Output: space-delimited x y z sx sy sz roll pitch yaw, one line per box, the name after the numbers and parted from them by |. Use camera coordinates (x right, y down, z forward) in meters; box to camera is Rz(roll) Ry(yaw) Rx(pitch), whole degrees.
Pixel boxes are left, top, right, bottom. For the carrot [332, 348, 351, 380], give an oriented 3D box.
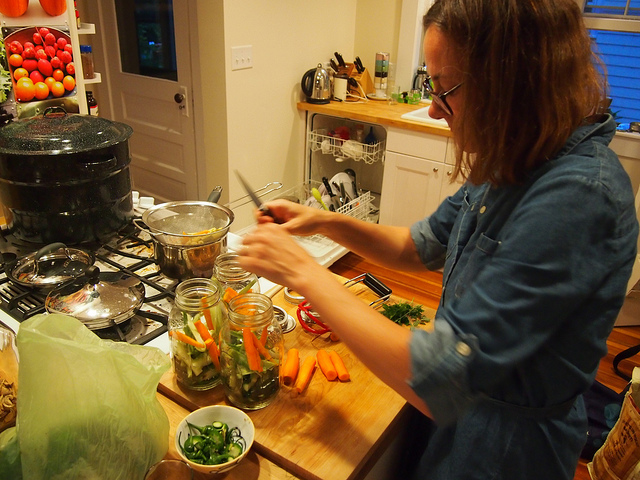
0.054 0.324 1.165 0.021 0.023 0.081 17 31 -30 | carrot

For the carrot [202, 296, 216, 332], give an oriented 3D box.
-0.271 0.183 1.086 0.017 0.093 0.016 -11 13 -2 | carrot

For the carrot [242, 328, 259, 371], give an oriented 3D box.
-0.157 0.246 1.000 0.021 0.094 0.039 -13 29 -27 | carrot

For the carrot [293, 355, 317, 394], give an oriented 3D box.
-0.035 0.342 1.133 0.023 0.029 0.091 -10 33 32 | carrot

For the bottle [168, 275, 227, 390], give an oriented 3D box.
-0.309 0.234 1.137 0.146 0.268 0.152 0 22 0 | bottle

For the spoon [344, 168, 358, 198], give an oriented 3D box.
0.254 -0.525 3.764 0.080 0.332 0.045 -7 -1 42 | spoon

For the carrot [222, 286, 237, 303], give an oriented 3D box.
-0.239 0.142 1.176 0.032 0.013 0.036 -5 50 -41 | carrot

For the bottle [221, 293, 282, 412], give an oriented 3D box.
-0.163 0.267 1.077 0.134 0.249 0.136 1 17 0 | bottle

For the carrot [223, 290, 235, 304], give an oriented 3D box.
-0.233 0.148 1.141 0.011 0.019 0.021 -26 26 35 | carrot

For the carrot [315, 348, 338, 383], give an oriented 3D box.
0.014 0.325 1.173 0.029 0.033 0.102 2 29 -19 | carrot

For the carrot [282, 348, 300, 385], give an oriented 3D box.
-0.075 0.321 1.142 0.030 0.029 0.081 10 30 9 | carrot

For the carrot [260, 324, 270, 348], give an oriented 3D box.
-0.126 0.219 1.011 0.008 0.043 0.027 16 30 30 | carrot

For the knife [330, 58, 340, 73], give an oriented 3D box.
0.113 -1.423 3.644 0.048 0.039 0.175 20 42 -47 | knife

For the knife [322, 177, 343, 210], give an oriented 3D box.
0.094 -0.300 3.173 0.064 0.409 0.023 -22 42 5 | knife

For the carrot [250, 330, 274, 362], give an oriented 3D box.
-0.135 0.241 1.011 0.009 0.089 0.011 -19 20 29 | carrot

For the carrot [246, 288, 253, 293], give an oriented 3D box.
-0.188 0.135 1.180 0.011 0.009 0.012 -34 -1 16 | carrot

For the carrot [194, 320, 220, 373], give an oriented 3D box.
-0.261 0.256 1.093 0.022 0.148 0.032 -11 17 40 | carrot

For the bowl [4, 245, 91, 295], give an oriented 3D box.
-0.836 0.087 1.397 0.175 0.096 0.190 1 31 -1 | bowl

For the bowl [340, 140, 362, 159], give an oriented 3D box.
0.236 -0.721 3.486 0.147 0.069 0.118 36 48 19 | bowl

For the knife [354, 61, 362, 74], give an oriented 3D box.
0.304 -1.406 3.639 0.032 0.128 0.026 -19 9 30 | knife

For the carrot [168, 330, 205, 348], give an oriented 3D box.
-0.313 0.234 1.062 0.063 0.011 0.012 34 17 -2 | carrot

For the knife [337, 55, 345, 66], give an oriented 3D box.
0.172 -1.482 3.683 0.008 0.063 0.061 -25 -23 18 | knife
